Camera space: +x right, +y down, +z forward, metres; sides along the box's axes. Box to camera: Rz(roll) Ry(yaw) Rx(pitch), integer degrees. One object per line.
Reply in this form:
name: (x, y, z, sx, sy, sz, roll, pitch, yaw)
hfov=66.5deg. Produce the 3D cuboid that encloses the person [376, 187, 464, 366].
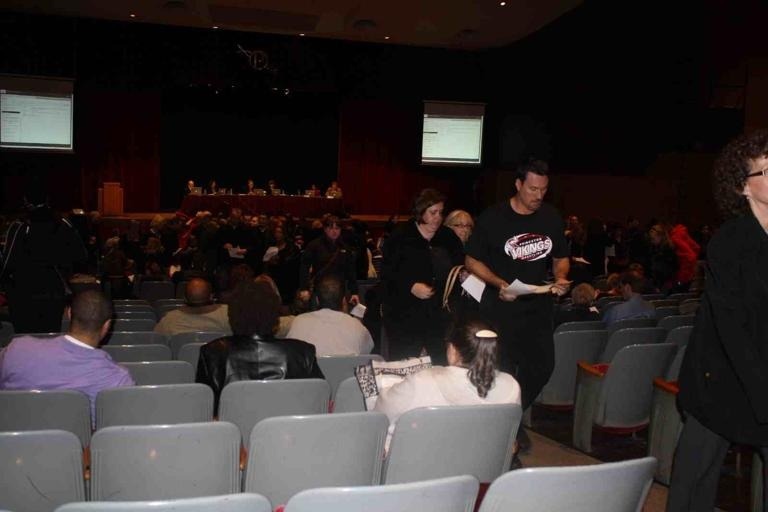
person: (0.458, 0.474, 5.937, 0.837, 2.263, 0.707, -14, 35, -21)
